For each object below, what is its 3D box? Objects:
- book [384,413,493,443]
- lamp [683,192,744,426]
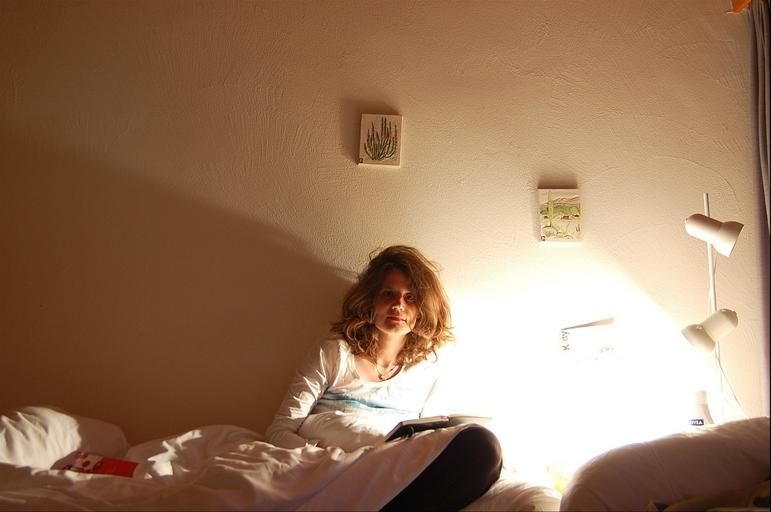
[{"bbox_3d":[0.230,0.765,2.528,0.637,0.064,0.456,4,-14,-31],"label":"book"},{"bbox_3d":[1.721,0.254,2.999,0.245,1.255,0.544,1,-6,30],"label":"lamp"}]
